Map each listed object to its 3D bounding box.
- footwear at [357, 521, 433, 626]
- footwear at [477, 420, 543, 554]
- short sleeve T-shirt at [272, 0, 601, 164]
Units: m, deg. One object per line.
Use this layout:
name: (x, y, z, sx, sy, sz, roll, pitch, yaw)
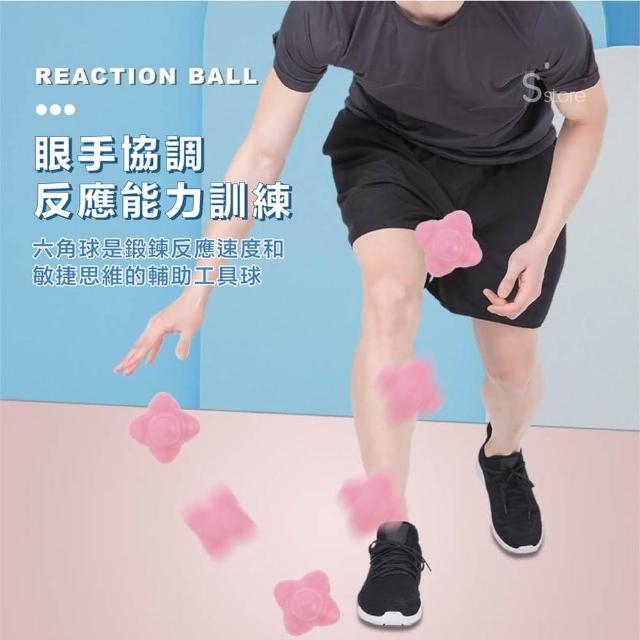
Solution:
footwear: (0.130, 0.457, 1.216, 0.081, 0.096, 0.206, 1, 2, 5)
footwear: (0.425, 0.381, 1.529, 0.079, 0.100, 0.255, -5, 55, 2)
short sleeve T-shirt: (0.240, -0.326, 1.335, 0.554, 0.272, 0.478, 5, -6, 15)
